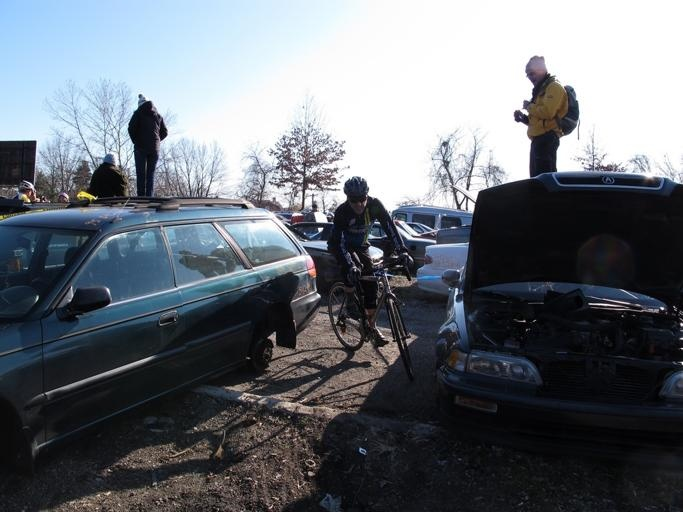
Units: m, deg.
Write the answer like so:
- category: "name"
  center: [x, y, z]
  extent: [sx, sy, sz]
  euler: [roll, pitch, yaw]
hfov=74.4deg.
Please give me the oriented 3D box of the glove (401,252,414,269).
- category: "glove"
  center: [0.810, 0.037, 5.464]
  extent: [0.119, 0.186, 0.419]
  euler: [4, 6, 16]

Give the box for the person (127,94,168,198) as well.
- category: "person"
  center: [-3.520, -1.995, 8.104]
  extent: [0.514, 1.776, 0.798]
  euler: [2, 6, -2]

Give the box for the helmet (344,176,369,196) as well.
- category: "helmet"
  center: [0.169, -0.818, 5.315]
  extent: [0.242, 0.233, 0.146]
  euler: [4, 6, 23]

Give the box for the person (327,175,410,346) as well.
- category: "person"
  center: [0.249, 0.094, 5.563]
  extent: [0.968, 2.094, 0.814]
  euler: [5, 7, 32]

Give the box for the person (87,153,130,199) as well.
- category: "person"
  center: [-3.899, -1.372, 7.542]
  extent: [0.526, 0.730, 0.410]
  euler: [-2, 7, -34]

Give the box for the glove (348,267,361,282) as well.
- category: "glove"
  center: [0.142, 0.215, 5.201]
  extent: [0.134, 0.160, 0.174]
  euler: [-1, -18, -2]

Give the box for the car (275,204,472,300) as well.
- category: "car"
  center: [0.802, -0.325, 11.102]
  extent: [2.228, 1.669, 4.936]
  euler: [0, 7, 23]

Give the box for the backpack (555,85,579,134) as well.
- category: "backpack"
  center: [2.999, -1.942, 5.939]
  extent: [0.222, 0.661, 0.422]
  euler: [5, 7, 32]
